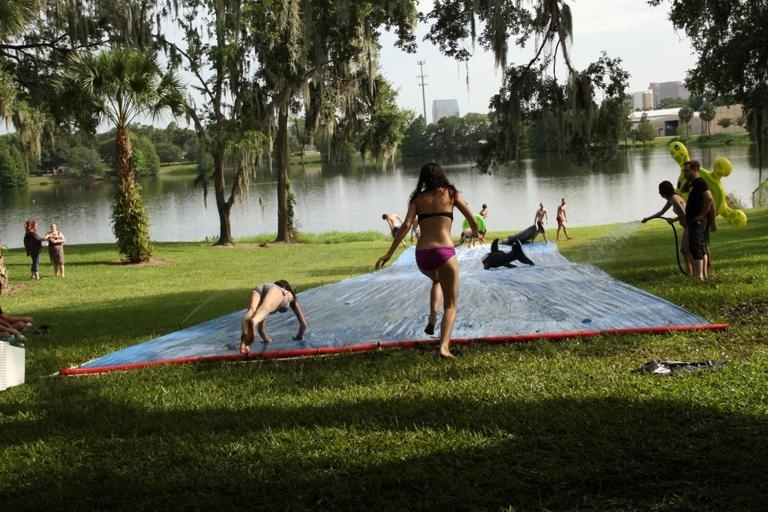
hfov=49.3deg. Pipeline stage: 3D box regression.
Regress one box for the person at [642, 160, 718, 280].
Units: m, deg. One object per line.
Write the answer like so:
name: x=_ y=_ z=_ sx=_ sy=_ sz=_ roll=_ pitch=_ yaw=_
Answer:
person: x=6.490 y=-0.762 z=17.963 sx=1.084 sy=2.474 sz=1.254 roll=-3 pitch=5 yaw=16

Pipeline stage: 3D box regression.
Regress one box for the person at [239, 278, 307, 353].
person: x=-2.093 y=1.090 z=15.593 sx=0.966 sy=1.160 sz=2.596 roll=2 pitch=-1 yaw=8

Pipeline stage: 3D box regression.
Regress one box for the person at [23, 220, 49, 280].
person: x=-10.036 y=-0.187 z=24.311 sx=0.484 sy=1.655 sz=1.788 roll=-6 pitch=5 yaw=-23
